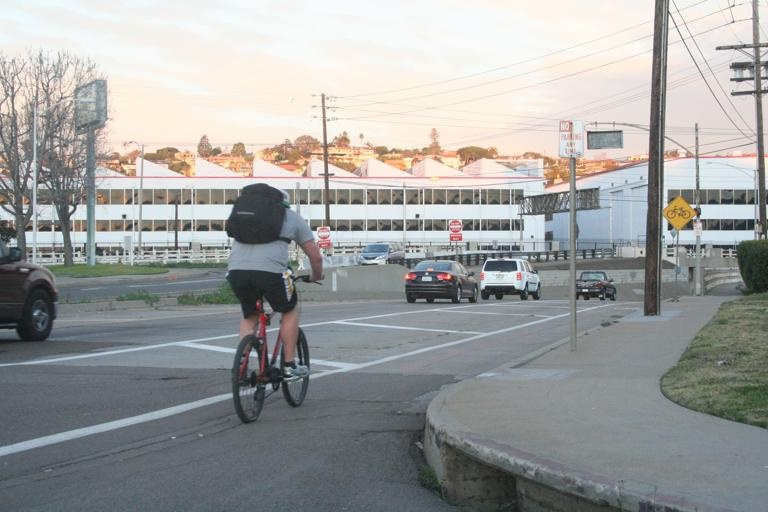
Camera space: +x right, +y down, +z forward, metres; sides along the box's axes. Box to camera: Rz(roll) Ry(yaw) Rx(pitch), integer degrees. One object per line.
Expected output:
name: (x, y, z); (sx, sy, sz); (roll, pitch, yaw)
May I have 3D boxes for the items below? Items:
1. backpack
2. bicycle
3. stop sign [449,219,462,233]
backpack: (-1.635, -0.541, 12.407); (0.838, 0.764, 0.488); (-1, 14, -9)
bicycle: (-1.460, 1.409, 13.030); (1.141, 1.323, 2.194); (4, 8, 18)
stop sign: (3.775, -1.511, 48.983); (0.543, 0.654, 1.109); (1, 13, -1)
